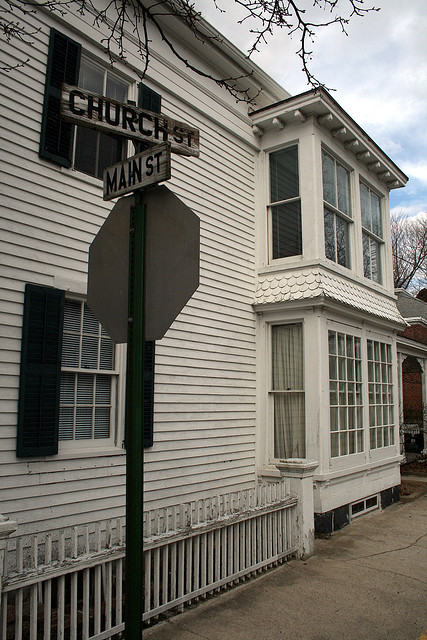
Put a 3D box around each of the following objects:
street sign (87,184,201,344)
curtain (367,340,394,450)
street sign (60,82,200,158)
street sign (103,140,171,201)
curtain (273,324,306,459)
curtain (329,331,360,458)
[{"bbox_3d":[-0.312,-0.242,2.229,0.661,0.679,0.127,-7,-10,41],"label":"street sign"},{"bbox_3d":[3.194,1.624,9.870,0.382,2.831,0.538,-1,-4,28],"label":"curtain"},{"bbox_3d":[-0.377,-0.931,2.439,0.672,0.192,0.062,7,-9,-29],"label":"street sign"},{"bbox_3d":[-0.345,-0.640,2.270,0.322,0.187,0.029,-14,-22,17],"label":"street sign"},{"bbox_3d":[1.162,1.079,7.986,0.587,2.064,0.320,-3,-8,27],"label":"curtain"},{"bbox_3d":[2.101,1.238,8.337,0.043,2.240,1.401,-4,-13,32],"label":"curtain"}]
